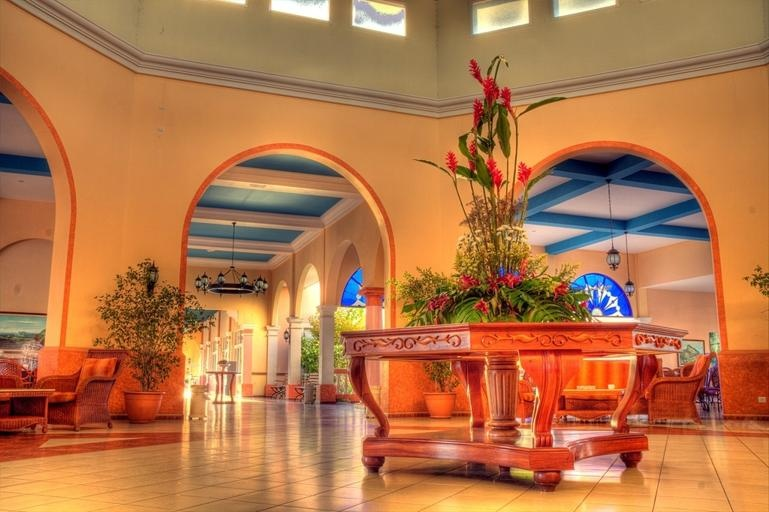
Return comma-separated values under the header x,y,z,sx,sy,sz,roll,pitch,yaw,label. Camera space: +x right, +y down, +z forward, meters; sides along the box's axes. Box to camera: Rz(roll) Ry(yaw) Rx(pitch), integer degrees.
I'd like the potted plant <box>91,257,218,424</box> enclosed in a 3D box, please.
x,y,z,sx,sy,sz,roll,pitch,yaw,label
-3.790,1.065,9.051,1.455,2.099,0.607,8,-16,-26,potted plant

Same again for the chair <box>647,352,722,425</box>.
x,y,z,sx,sy,sz,roll,pitch,yaw,label
4.673,2.203,9.373,1.246,1.239,1.046,-2,-14,17,chair

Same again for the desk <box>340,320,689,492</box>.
x,y,z,sx,sy,sz,roll,pitch,yaw,label
1.018,1.213,4.712,2.669,1.218,1.358,0,-14,0,desk
